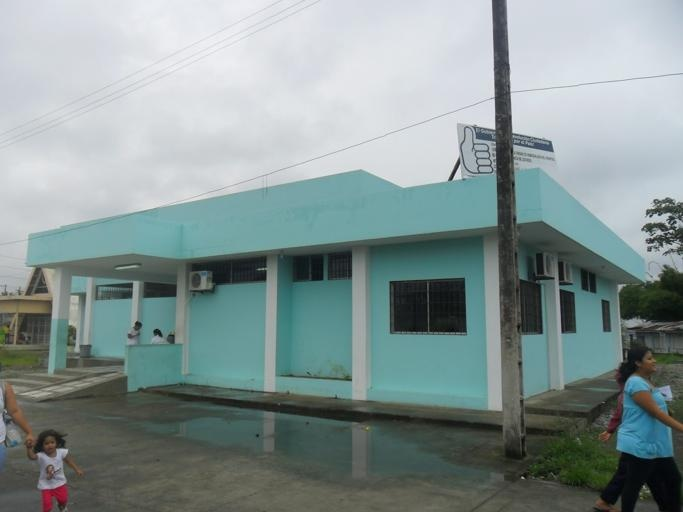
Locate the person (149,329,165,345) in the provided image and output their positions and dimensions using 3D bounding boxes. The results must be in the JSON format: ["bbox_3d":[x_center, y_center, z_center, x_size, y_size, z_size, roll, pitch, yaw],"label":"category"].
[{"bbox_3d":[-6.498,2.856,18.218,0.417,0.520,1.375,1,-11,-18],"label":"person"}]

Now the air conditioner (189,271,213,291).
[{"bbox_3d":[-4.566,0.793,16.597,0.862,0.684,0.385,-7,-11,29],"label":"air conditioner"}]

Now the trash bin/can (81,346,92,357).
[{"bbox_3d":[-11.876,4.374,23.649,0.471,0.551,0.605,3,-11,-27],"label":"trash bin/can"}]

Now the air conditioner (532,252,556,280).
[{"bbox_3d":[5.452,0.318,13.699,0.561,0.963,1.072,-5,-8,32],"label":"air conditioner"}]

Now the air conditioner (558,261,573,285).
[{"bbox_3d":[6.512,0.503,14.809,0.337,0.470,0.642,-4,-9,30],"label":"air conditioner"}]

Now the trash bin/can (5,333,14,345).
[{"bbox_3d":[-25.084,6.244,38.654,0.461,0.918,2.257,4,-11,-28],"label":"trash bin/can"}]
